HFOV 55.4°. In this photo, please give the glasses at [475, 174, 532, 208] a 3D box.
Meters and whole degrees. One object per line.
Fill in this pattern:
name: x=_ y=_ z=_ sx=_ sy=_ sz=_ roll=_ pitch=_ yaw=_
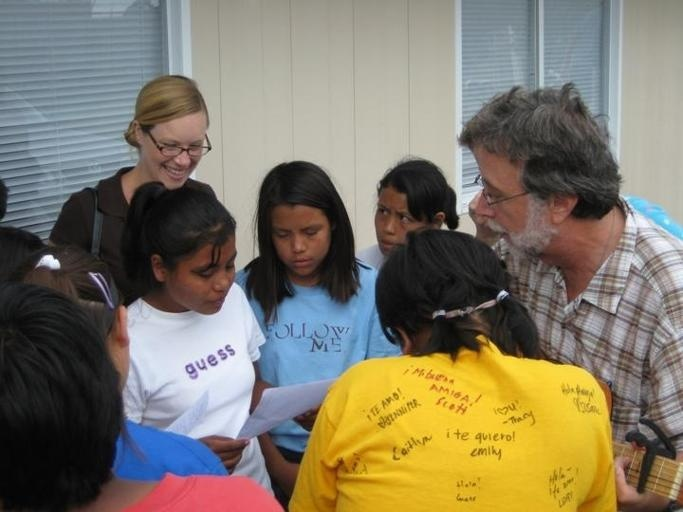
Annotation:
glasses: x=0.654 y=-0.248 z=2.594 sx=0.147 sy=0.050 sz=0.149 roll=7 pitch=5 yaw=-19
